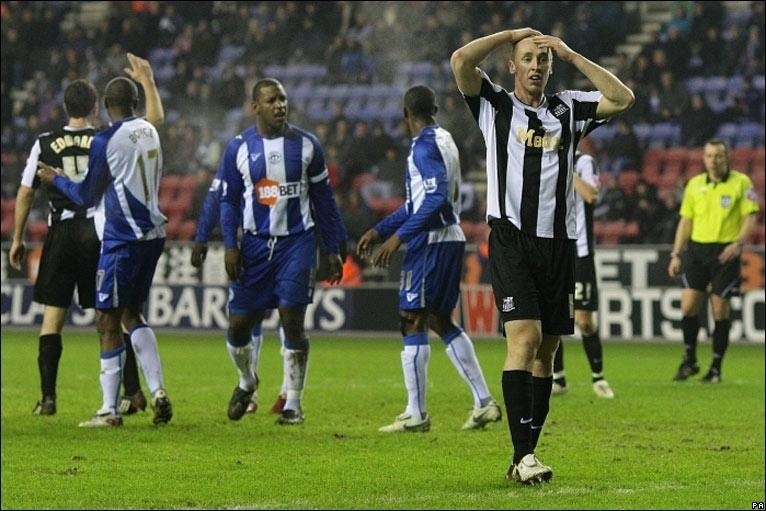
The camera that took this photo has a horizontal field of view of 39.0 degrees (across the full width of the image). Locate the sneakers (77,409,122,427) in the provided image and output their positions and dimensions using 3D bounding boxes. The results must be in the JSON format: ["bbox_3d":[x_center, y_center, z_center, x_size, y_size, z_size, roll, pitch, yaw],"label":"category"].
[{"bbox_3d":[-3.174,1.829,12.177,0.492,0.192,0.175,2,-6,-6],"label":"sneakers"}]

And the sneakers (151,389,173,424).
[{"bbox_3d":[-2.511,1.709,12.278,0.205,0.421,0.260,-1,10,-11],"label":"sneakers"}]

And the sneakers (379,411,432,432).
[{"bbox_3d":[0.261,1.882,12.342,0.627,0.224,0.220,1,-8,-3],"label":"sneakers"}]

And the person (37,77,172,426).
[{"bbox_3d":[-3.036,-0.067,12.267,1.149,3.876,0.857,-3,11,-19],"label":"person"}]

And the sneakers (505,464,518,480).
[{"bbox_3d":[1.310,2.193,10.920,0.136,0.204,0.169,1,0,-8],"label":"sneakers"}]

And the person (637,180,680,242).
[{"bbox_3d":[5.244,-0.832,20.589,0.480,0.405,1.421,0,31,6],"label":"person"}]
